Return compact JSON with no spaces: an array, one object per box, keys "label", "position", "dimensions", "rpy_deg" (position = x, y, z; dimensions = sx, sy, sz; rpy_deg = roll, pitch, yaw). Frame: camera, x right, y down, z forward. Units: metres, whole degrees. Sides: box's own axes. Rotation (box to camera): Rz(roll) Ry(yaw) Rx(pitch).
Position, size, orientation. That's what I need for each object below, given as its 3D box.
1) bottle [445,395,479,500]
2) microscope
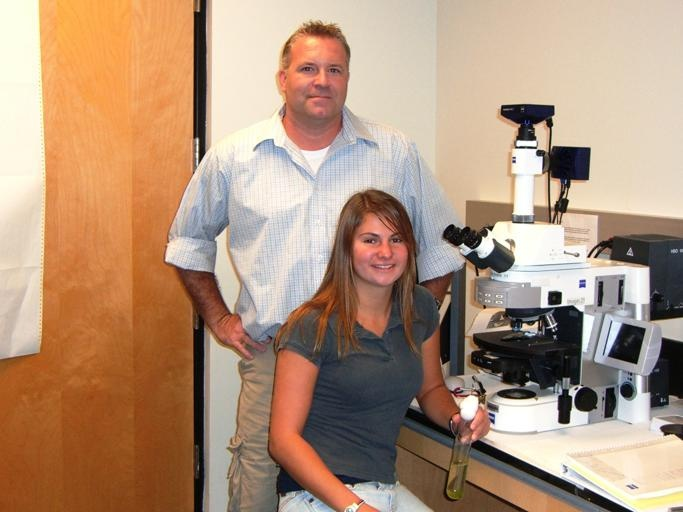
[{"label":"bottle","position":[0.407,0.660,2.118],"dimensions":[0.062,0.324,0.088],"rpy_deg":[8,-13,23]},{"label":"microscope","position":[0.769,0.041,2.327],"dimensions":[0.692,1.173,0.605],"rpy_deg":[-3,5,-9]}]
